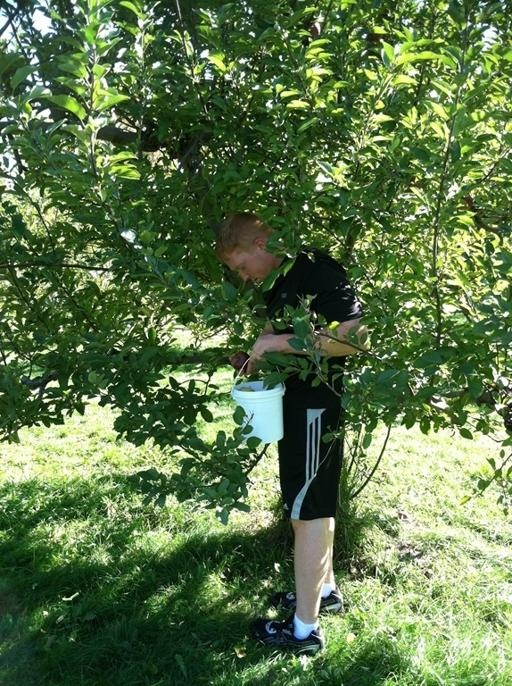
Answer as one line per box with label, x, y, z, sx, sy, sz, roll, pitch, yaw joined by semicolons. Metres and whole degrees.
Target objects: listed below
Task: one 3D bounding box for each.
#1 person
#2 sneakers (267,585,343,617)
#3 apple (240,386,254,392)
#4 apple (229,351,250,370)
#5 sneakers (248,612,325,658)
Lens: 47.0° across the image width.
person;0.083;0.386;2.213;0.583;1.169;1.110;7;-3;11
sneakers;0.224;1.156;2.658;0.352;0.115;0.115;2;-2;0
apple;-0.038;0.162;2.077;0.027;0.018;0.027;1;1;0
apple;-0.062;0.066;2.234;0.063;0.072;0.033;-3;-20;35
sneakers;0.109;1.189;2.472;0.341;0.131;0.112;6;18;20
